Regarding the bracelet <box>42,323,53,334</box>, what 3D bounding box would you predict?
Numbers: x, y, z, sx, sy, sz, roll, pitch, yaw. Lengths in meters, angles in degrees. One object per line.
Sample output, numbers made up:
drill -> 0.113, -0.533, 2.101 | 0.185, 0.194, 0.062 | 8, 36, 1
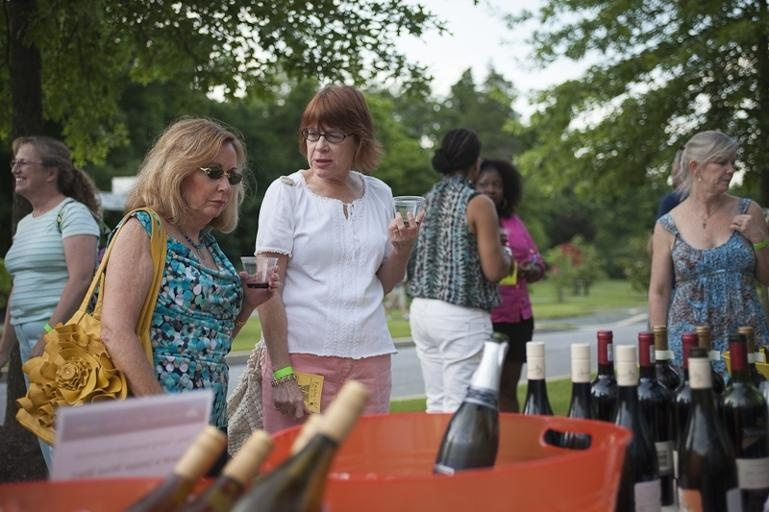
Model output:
bracelet -> -2.587, 0.556, 10.383 | 0.106, 0.045, 0.119 | -1, -10, -11

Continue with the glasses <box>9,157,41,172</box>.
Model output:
glasses -> -2.975, -0.762, 11.195 | 0.143, 0.063, 0.185 | -3, -3, 19

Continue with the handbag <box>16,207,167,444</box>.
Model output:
handbag -> -2.050, 0.484, 9.442 | 1.026, 1.644, 0.317 | -2, -4, 17

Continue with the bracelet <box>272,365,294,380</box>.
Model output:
bracelet -> -0.741, 0.848, 9.824 | 0.110, 0.107, 0.104 | 2, -45, -14

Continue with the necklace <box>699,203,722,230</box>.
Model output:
necklace -> 2.568, -0.312, 10.681 | 0.231, 0.211, 0.019 | 1, -15, 18

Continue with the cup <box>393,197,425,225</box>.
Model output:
cup -> 0.178, -0.340, 9.886 | 0.226, 0.226, 0.164 | 1, -4, -20

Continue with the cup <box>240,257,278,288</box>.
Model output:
cup -> -0.883, 0.121, 9.736 | 0.242, 0.167, 0.238 | 1, -5, 0
